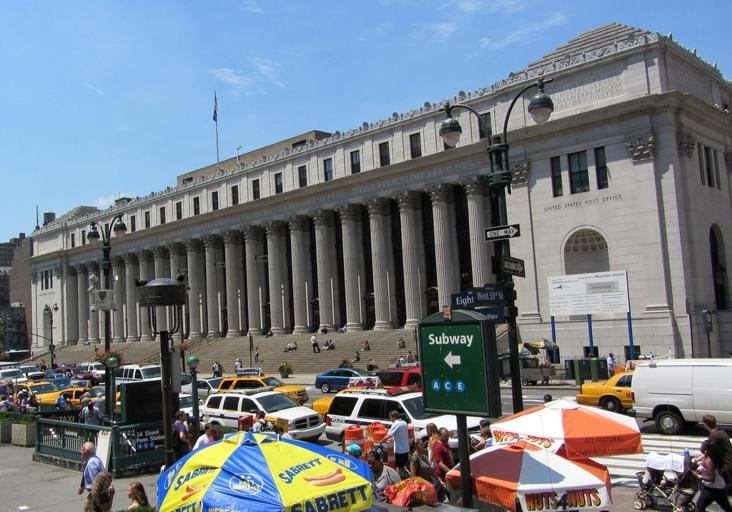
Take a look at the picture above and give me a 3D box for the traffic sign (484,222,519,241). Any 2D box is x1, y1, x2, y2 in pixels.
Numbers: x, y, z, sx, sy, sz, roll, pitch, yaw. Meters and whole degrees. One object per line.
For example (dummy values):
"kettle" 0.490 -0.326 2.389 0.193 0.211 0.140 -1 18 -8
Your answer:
"traffic sign" 6.521 -1.132 41.755 1.950 0.844 0.079 -14 -2 35

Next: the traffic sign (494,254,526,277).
"traffic sign" 6.501 0.459 39.545 1.728 0.721 0.529 4 -9 -44

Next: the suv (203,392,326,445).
"suv" -4.725 7.397 39.832 6.509 2.127 2.398 -3 -5 40

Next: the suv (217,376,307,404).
"suv" -5.710 7.143 48.680 4.798 1.736 2.163 -5 -3 18

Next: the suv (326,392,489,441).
"suv" 1.332 6.544 37.361 6.107 2.214 2.981 -9 -11 38
